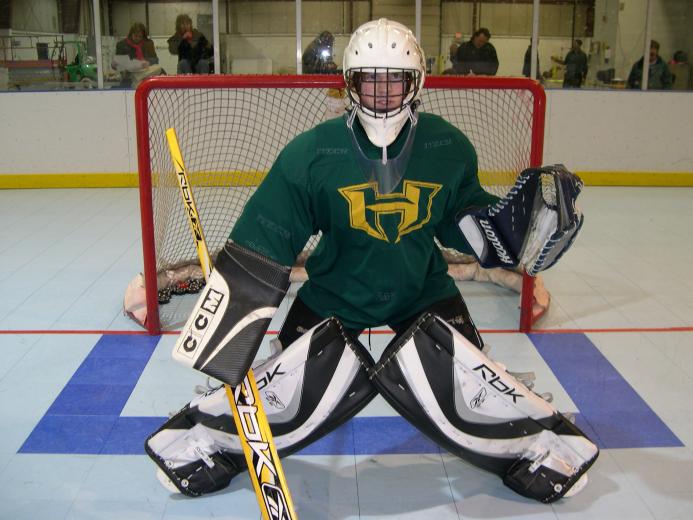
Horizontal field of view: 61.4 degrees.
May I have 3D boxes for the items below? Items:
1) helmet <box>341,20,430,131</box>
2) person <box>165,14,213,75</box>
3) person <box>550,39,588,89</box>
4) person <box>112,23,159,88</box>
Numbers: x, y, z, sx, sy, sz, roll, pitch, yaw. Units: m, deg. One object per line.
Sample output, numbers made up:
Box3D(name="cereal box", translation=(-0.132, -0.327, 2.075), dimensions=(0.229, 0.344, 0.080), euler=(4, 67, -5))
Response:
Box3D(name="helmet", translation=(0.143, -0.736, 2.205), dimensions=(0.282, 0.341, 0.374), euler=(-1, 27, 5))
Box3D(name="person", translation=(-1.825, -2.438, 6.909), dimensions=(0.465, 0.856, 0.469), euler=(-25, 29, -37))
Box3D(name="person", translation=(2.730, -2.313, 7.150), dimensions=(0.356, 0.757, 0.204), euler=(8, 48, 18))
Box3D(name="person", translation=(-2.483, -2.391, 6.991), dimensions=(0.514, 0.781, 0.523), euler=(22, 35, 11))
